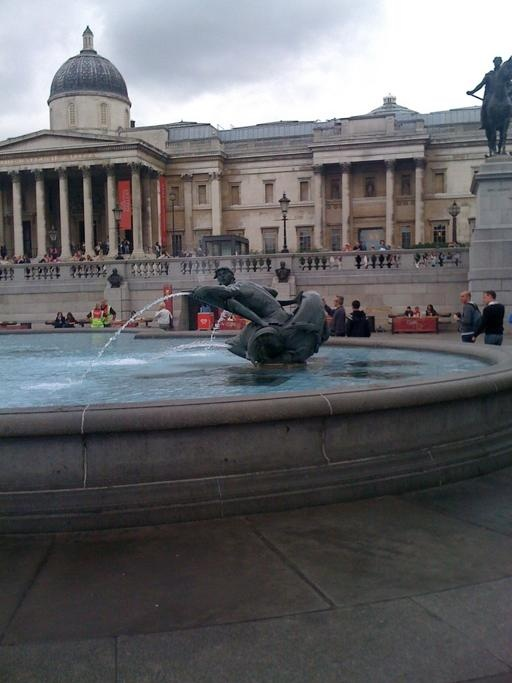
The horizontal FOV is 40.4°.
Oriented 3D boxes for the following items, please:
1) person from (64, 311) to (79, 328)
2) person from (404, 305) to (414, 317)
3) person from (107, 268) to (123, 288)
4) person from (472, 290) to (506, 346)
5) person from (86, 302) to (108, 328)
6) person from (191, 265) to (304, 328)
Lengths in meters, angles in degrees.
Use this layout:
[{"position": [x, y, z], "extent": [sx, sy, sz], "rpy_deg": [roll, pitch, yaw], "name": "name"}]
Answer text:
[{"position": [-7.818, -0.948, 29.505], "extent": [0.596, 0.939, 0.521], "rpy_deg": [-1, 21, 0], "name": "person"}, {"position": [5.875, -1.184, 26.806], "extent": [0.318, 0.441, 0.771], "rpy_deg": [-3, 15, 9], "name": "person"}, {"position": [-6.532, -2.951, 32.284], "extent": [0.713, 0.949, 0.631], "rpy_deg": [0, 5, -3], "name": "person"}, {"position": [3.642, -0.360, 10.905], "extent": [0.435, 0.883, 1.376], "rpy_deg": [2, 6, 18], "name": "person"}, {"position": [-5.974, -0.986, 26.155], "extent": [1.081, 1.122, 0.642], "rpy_deg": [1, 9, 6], "name": "person"}, {"position": [-0.303, -0.550, 9.014], "extent": [1.179, 0.578, 0.745], "rpy_deg": [8, 22, 32], "name": "person"}]
